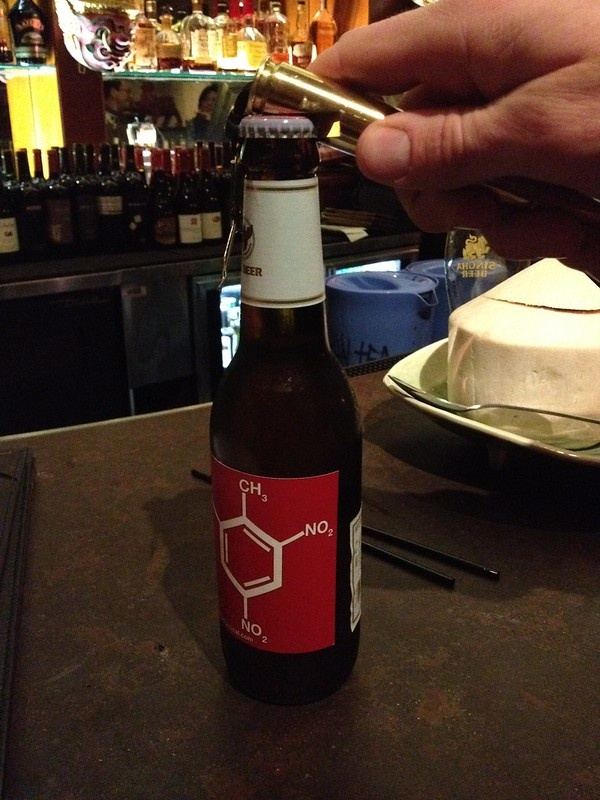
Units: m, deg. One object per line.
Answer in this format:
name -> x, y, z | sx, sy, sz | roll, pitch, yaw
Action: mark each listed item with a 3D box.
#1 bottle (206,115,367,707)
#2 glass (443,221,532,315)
bottle -> -0.007, 0.022, 0.335 | 0.079, 0.313, 0.063 | -3, 19, -7
glass -> 0.256, -0.156, 0.839 | 0.121, 0.134, 0.097 | -13, 16, -43
